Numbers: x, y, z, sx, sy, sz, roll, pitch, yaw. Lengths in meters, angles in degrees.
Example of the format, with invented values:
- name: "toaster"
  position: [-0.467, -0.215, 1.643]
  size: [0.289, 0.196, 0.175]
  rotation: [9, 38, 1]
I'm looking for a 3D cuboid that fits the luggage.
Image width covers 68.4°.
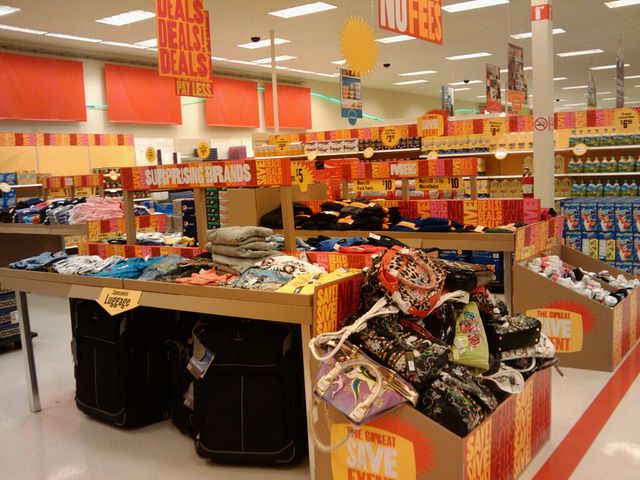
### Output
- name: "luggage"
  position: [-0.803, 0.886, 3.035]
  size: [1.692, 1.076, 0.998]
  rotation: [0, -1, 38]

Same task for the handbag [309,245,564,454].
- name: "handbag"
  position: [0.560, 0.439, 2.367]
  size: [0.722, 0.787, 1.297]
  rotation: [7, 18, 43]
